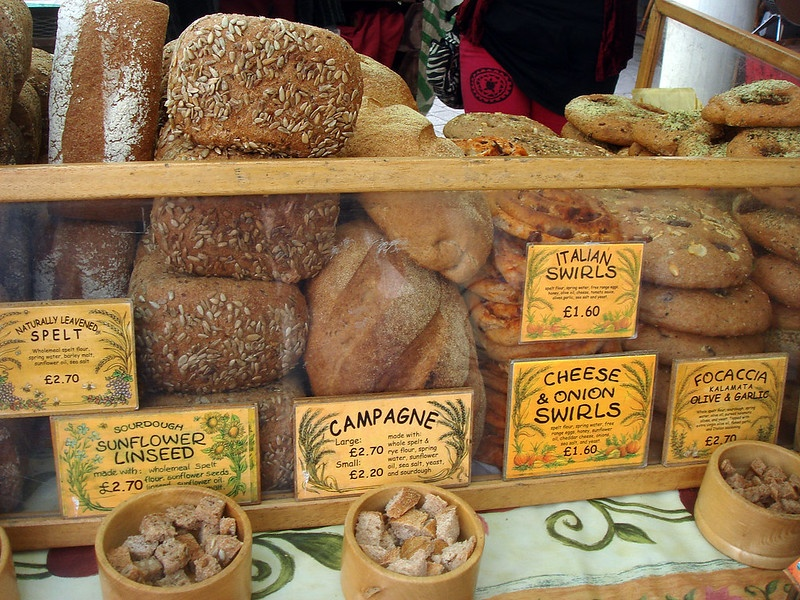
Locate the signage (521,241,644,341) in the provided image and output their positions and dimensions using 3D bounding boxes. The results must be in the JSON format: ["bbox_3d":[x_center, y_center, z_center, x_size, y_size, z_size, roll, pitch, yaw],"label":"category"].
[{"bbox_3d":[0.308,-0.023,1.131,0.230,0.146,0.021,-2,21,-7],"label":"signage"}]

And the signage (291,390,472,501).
[{"bbox_3d":[-0.047,0.248,1.145,0.281,0.121,0.024,-2,21,-5],"label":"signage"}]

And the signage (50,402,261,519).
[{"bbox_3d":[-0.405,0.270,1.119,0.371,0.165,0.025,-5,-10,5],"label":"signage"}]

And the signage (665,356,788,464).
[{"bbox_3d":[0.606,0.200,1.227,0.282,0.185,0.025,-2,19,-13],"label":"signage"}]

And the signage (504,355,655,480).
[{"bbox_3d":[0.319,0.206,1.200,0.322,0.178,0.010,-3,18,-10],"label":"signage"}]
